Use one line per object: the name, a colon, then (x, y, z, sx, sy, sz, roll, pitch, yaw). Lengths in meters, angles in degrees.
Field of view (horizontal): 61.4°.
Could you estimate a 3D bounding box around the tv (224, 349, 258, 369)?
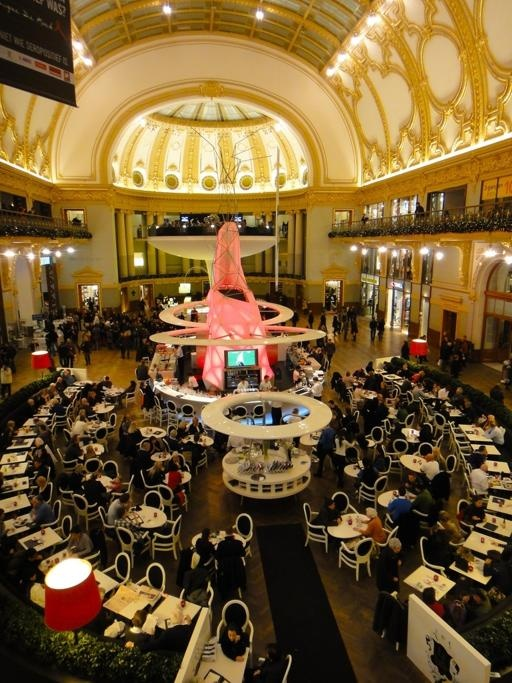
tv: (-0.421, 0.566, 14.025, 1.059, 0.701, 0.560, -2, 5, -16)
